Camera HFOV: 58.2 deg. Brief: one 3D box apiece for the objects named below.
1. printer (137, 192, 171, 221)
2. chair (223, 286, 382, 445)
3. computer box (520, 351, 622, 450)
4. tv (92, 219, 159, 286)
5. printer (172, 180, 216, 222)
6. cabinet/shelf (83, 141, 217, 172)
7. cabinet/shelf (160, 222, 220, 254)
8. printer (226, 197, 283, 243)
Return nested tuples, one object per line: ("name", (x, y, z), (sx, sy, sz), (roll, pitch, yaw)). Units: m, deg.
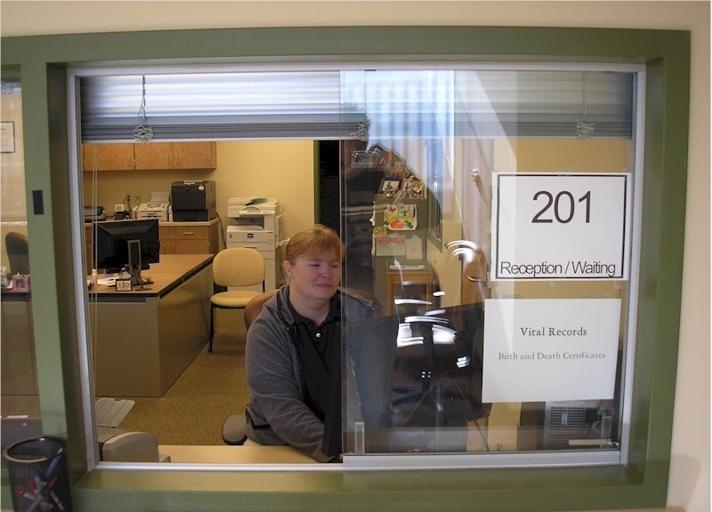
("printer", (-2.128, -0.527, 6.848), (0.412, 0.302, 0.417), (0, 10, 0))
("chair", (-0.252, 0.500, 2.586), (0.552, 0.691, 0.682), (2, 1, -11))
("computer box", (0.715, 0.484, 2.353), (0.447, 0.418, 0.253), (-4, 17, 14))
("tv", (-1.543, -0.026, 4.295), (0.137, 0.349, 0.424), (19, 18, 40))
("printer", (-1.709, -0.572, 6.721), (0.409, 0.408, 0.435), (0, 2, -2))
("cabinet/shelf", (-2.208, -1.041, 6.869), (1.377, 0.348, 0.960), (-7, 16, -31))
("cabinet/shelf", (-1.782, -0.193, 6.809), (0.511, 0.478, 0.371), (0, 7, -6))
("printer", (-1.045, -0.376, 6.657), (0.505, 0.480, 0.494), (1, 9, 3))
